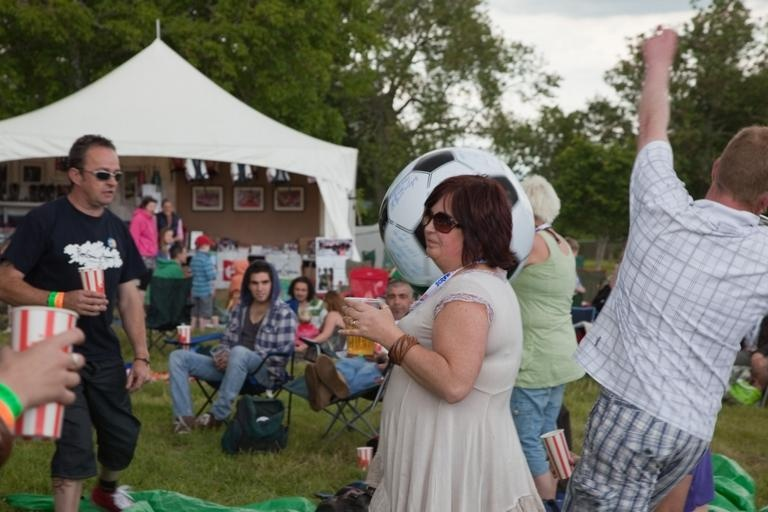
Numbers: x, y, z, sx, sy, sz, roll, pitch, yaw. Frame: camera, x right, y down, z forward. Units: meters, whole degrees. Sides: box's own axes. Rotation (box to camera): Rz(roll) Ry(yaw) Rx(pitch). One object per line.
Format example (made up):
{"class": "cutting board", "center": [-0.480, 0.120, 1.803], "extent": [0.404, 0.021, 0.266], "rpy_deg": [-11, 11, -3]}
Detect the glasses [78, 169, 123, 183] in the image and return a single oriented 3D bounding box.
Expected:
{"class": "glasses", "center": [-2.641, -0.744, 9.203], "extent": [0.376, 0.105, 0.162], "rpy_deg": [1, 5, -24]}

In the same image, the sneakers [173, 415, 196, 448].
{"class": "sneakers", "center": [-2.265, 1.938, 11.155], "extent": [0.250, 0.278, 0.162], "rpy_deg": [1, -4, -31]}

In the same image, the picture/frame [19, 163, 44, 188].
{"class": "picture/frame", "center": [-8.151, -1.866, 22.700], "extent": [0.452, 0.535, 0.050], "rpy_deg": [1, 11, -3]}

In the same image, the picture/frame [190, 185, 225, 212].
{"class": "picture/frame", "center": [-3.710, -1.196, 20.578], "extent": [0.471, 0.452, 0.047], "rpy_deg": [-1, 4, 0]}

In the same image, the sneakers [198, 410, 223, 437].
{"class": "sneakers", "center": [-1.999, 1.905, 11.306], "extent": [0.251, 0.111, 0.205], "rpy_deg": [24, -24, 14]}

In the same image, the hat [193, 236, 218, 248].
{"class": "hat", "center": [-3.127, -0.232, 17.274], "extent": [0.243, 0.200, 0.349], "rpy_deg": [10, 17, 39]}

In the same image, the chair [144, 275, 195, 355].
{"class": "chair", "center": [-3.051, 0.893, 13.883], "extent": [0.690, 1.107, 0.765], "rpy_deg": [4, -12, -30]}

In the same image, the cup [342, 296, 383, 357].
{"class": "cup", "center": [-0.250, 0.770, 10.308], "extent": [0.471, 0.624, 0.462], "rpy_deg": [0, -2, 0]}

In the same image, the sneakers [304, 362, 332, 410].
{"class": "sneakers", "center": [-0.701, 1.430, 10.791], "extent": [0.206, 0.618, 0.266], "rpy_deg": [-1, -8, -8]}

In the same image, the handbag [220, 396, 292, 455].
{"class": "handbag", "center": [-1.384, 1.872, 10.948], "extent": [0.777, 0.685, 0.485], "rpy_deg": [5, -1, -35]}

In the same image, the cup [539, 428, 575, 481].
{"class": "cup", "center": [1.619, 1.835, 9.130], "extent": [0.300, 0.496, 0.329], "rpy_deg": [3, 4, 0]}

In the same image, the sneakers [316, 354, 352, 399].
{"class": "sneakers", "center": [-0.545, 1.320, 10.865], "extent": [0.268, 0.532, 0.214], "rpy_deg": [-23, 5, 14]}

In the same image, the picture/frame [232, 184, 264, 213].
{"class": "picture/frame", "center": [-2.843, -1.204, 20.606], "extent": [0.487, 0.478, 0.053], "rpy_deg": [-1, 3, -1]}

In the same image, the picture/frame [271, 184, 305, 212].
{"class": "picture/frame", "center": [-1.989, -1.229, 20.590], "extent": [0.476, 0.469, 0.051], "rpy_deg": [0, 5, 1]}

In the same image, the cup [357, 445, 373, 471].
{"class": "cup", "center": [-0.179, 2.049, 10.004], "extent": [0.144, 0.324, 0.357], "rpy_deg": [3, 4, 2]}
